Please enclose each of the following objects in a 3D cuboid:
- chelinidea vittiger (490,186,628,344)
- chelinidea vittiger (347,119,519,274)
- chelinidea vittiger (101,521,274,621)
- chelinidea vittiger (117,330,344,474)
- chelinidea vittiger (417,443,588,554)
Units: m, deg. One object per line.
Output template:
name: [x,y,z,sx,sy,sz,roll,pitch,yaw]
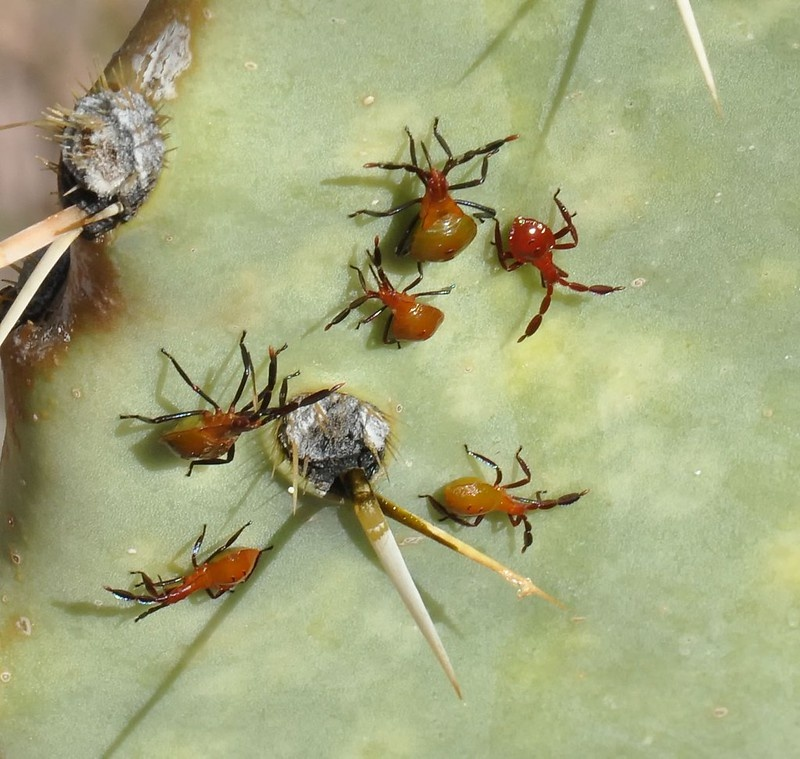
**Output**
chelinidea vittiger: [0.289,-0.235,2.140,0.287,0.080,0.273,-22,-72,9]
chelinidea vittiger: [0.070,-0.346,2.069,0.302,0.079,0.273,-17,-65,-12]
chelinidea vittiger: [-0.400,0.380,2.108,0.267,0.093,0.166,-20,-66,-7]
chelinidea vittiger: [-0.338,0.025,2.076,0.357,0.175,0.222,-31,-97,-3]
chelinidea vittiger: [0.216,0.264,2.214,0.324,0.200,0.080,8,-62,-8]
